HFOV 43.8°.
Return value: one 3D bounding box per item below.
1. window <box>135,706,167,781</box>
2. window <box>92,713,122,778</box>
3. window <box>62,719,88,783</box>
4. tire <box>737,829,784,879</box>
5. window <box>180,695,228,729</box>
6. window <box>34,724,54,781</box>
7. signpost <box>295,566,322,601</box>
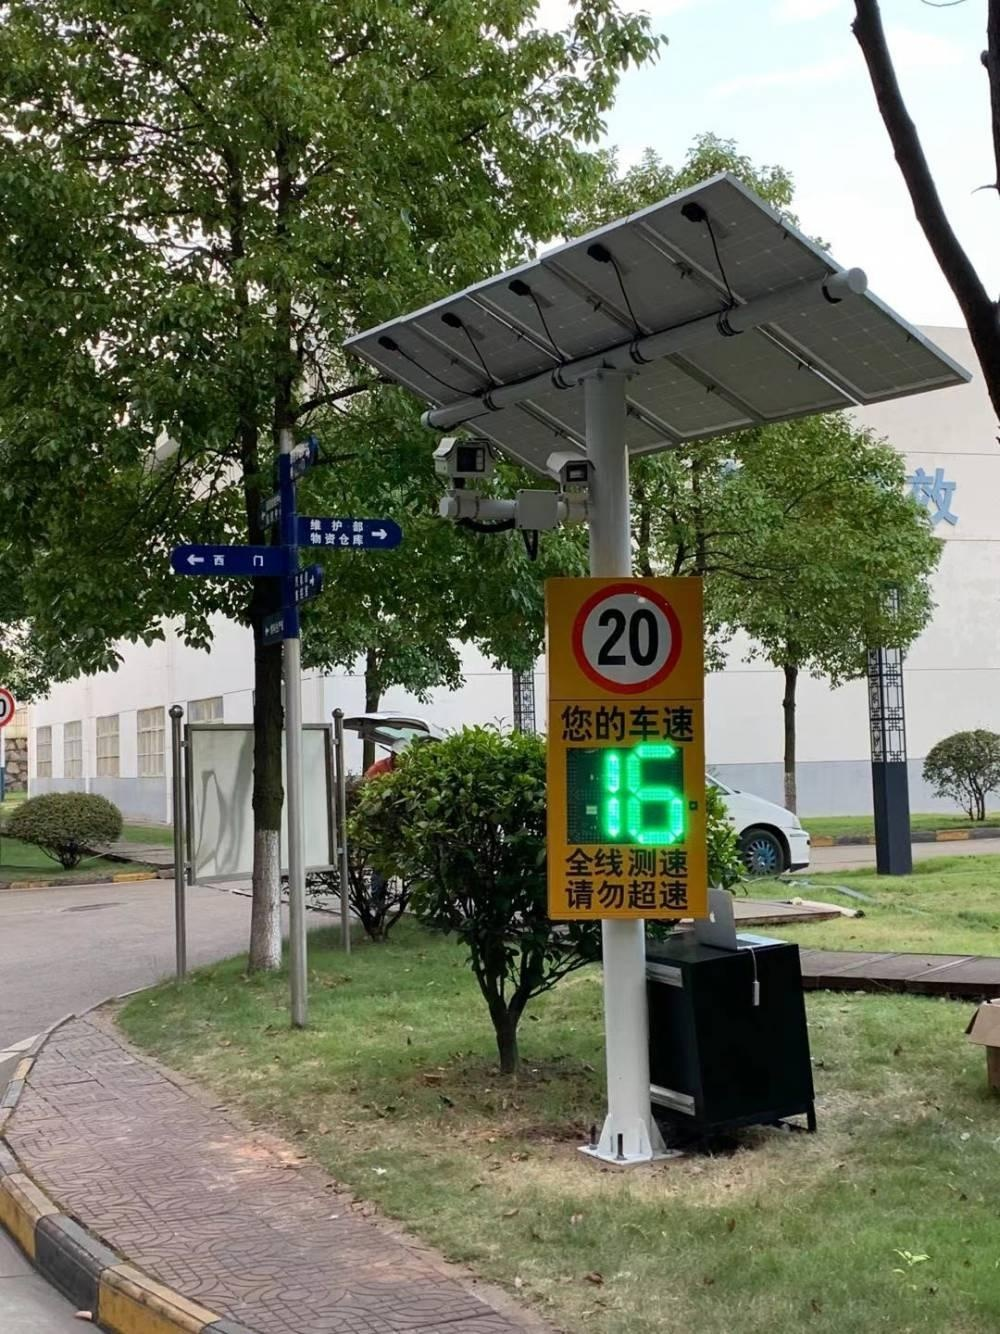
[{"bbox_3d":[-11.286,2.449,40.257,0.373,2.516,2.582,4,-8,-38],"label":"window"},{"bbox_3d":[-14.759,2.906,46.699,0.199,2.665,2.842,4,-2,-36],"label":"window"},{"bbox_3d":[-17.834,3.472,52.097,0.216,2.818,3.004,2,2,-36],"label":"window"},{"bbox_3d":[3.495,2.463,16.597,0.853,0.615,0.296,-1,-7,-34],"label":"tire"},{"bbox_3d":[-6.726,0.967,28.372,1.315,1.211,0.136,4,7,37],"label":"window"},{"bbox_3d":[-21.519,4.011,58.593,0.217,2.470,2.624,3,-11,-35],"label":"window"},{"bbox_3d":[-1.128,-0.498,7.286,0.125,0.179,0.527,-4,-5,-13],"label":"signpost"}]
